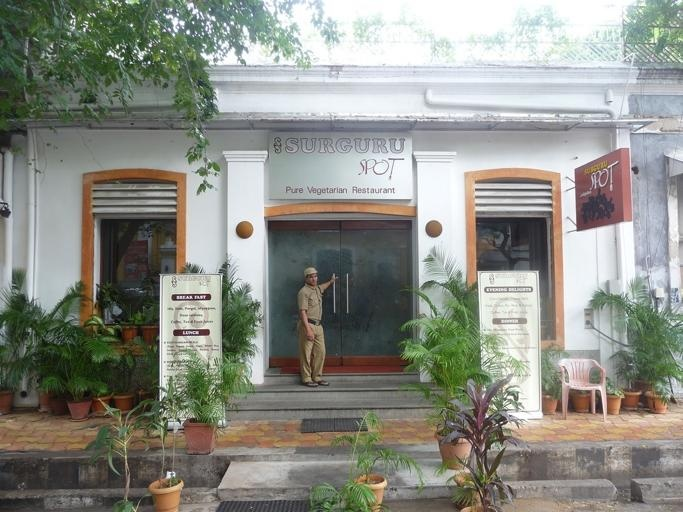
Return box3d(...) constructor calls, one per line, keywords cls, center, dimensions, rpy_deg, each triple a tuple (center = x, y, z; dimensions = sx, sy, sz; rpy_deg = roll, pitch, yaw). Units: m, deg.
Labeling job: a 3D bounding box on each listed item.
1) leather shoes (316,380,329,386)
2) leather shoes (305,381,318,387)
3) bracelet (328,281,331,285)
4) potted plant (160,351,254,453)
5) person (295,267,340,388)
box3d(cls="leather shoes", center=(-0.366, 2.292, 13.372), dimensions=(0.220, 0.106, 0.083), rpy_deg=(-1, -5, 2))
box3d(cls="leather shoes", center=(-0.569, 2.292, 13.269), dimensions=(0.189, 0.090, 0.092), rpy_deg=(-3, -3, 10))
box3d(cls="bracelet", center=(-0.249, 0.502, 14.094), dimensions=(0.071, 0.080, 0.080), rpy_deg=(0, -1, 11))
box3d(cls="potted plant", center=(-2.163, 2.309, 11.747), dimensions=(1.389, 1.606, 1.385), rpy_deg=(1, -15, -4))
box3d(cls="person", center=(-0.559, 1.291, 13.477), dimensions=(0.578, 2.120, 0.455), rpy_deg=(4, -9, -27))
